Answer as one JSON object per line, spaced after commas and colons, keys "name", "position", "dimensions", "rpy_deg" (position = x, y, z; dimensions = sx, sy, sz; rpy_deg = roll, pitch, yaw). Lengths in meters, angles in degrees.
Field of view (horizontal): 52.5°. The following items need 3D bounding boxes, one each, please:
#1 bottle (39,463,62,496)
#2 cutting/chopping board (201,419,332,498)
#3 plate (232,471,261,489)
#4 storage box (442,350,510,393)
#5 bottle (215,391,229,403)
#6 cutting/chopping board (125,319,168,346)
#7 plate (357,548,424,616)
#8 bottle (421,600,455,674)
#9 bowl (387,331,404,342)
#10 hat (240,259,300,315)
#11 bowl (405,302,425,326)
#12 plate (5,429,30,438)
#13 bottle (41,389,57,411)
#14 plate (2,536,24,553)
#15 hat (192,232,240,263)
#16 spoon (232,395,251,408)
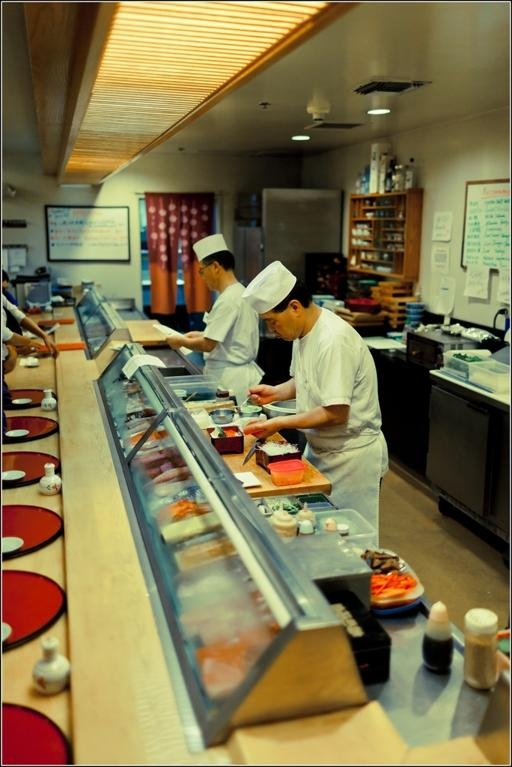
{"name": "bottle", "position": [-0.695, 0.323, 1.749], "dimensions": [0.071, 0.093, 0.074], "rpy_deg": [-6, 13, 1]}
{"name": "cutting/chopping board", "position": [0.051, 0.331, 2.002], "dimensions": [0.307, 0.091, 0.506], "rpy_deg": [-9, 13, -15]}
{"name": "plate", "position": [-0.030, 0.332, 1.846], "dimensions": [0.081, 0.031, 0.152], "rpy_deg": [-8, 13, -9]}
{"name": "storage box", "position": [1.463, -0.088, 3.368], "dimensions": [0.252, 0.131, 0.438], "rpy_deg": [-7, 20, -15]}
{"name": "bottle", "position": [-0.171, 0.059, 2.631], "dimensions": [0.063, 0.038, 0.126], "rpy_deg": [-7, 13, -3]}
{"name": "cutting/chopping board", "position": [-1.060, -0.476, 4.966], "dimensions": [0.291, 0.150, 1.149], "rpy_deg": [-9, 13, -13]}
{"name": "plate", "position": [0.338, 0.492, 1.289], "dimensions": [0.126, 0.059, 0.195], "rpy_deg": [-2, 15, -8]}
{"name": "bottle", "position": [0.378, 0.520, 1.090], "dimensions": [0.062, 0.146, 0.108], "rpy_deg": [-1, 14, 21]}
{"name": "bowl", "position": [1.316, -0.444, 4.923], "dimensions": [0.096, 0.072, 0.097], "rpy_deg": [0, 7, 0]}
{"name": "hat", "position": [0.050, -0.368, 2.062], "dimensions": [0.219, 0.113, 0.186], "rpy_deg": [-37, 18, 24]}
{"name": "bowl", "position": [1.467, -0.642, 4.878], "dimensions": [0.225, 0.325, 0.228], "rpy_deg": [-1, 6, 0]}
{"name": "plate", "position": [-1.058, 0.224, 2.311], "dimensions": [0.088, 0.021, 0.126], "rpy_deg": [-12, 14, -25]}
{"name": "bottle", "position": [-1.076, 0.091, 2.741], "dimensions": [0.102, 0.115, 0.103], "rpy_deg": [0, -1, 0]}
{"name": "plate", "position": [-0.665, 0.441, 1.425], "dimensions": [0.050, 0.022, 0.128], "rpy_deg": [-11, 14, -21]}
{"name": "hat", "position": [-0.279, -0.915, 3.517], "dimensions": [0.204, 0.171, 0.246], "rpy_deg": [-24, -6, -39]}
{"name": "spoon", "position": [-0.097, 0.109, 3.257], "dimensions": [0.121, 0.122, 0.072], "rpy_deg": [-2, 3, -21]}
